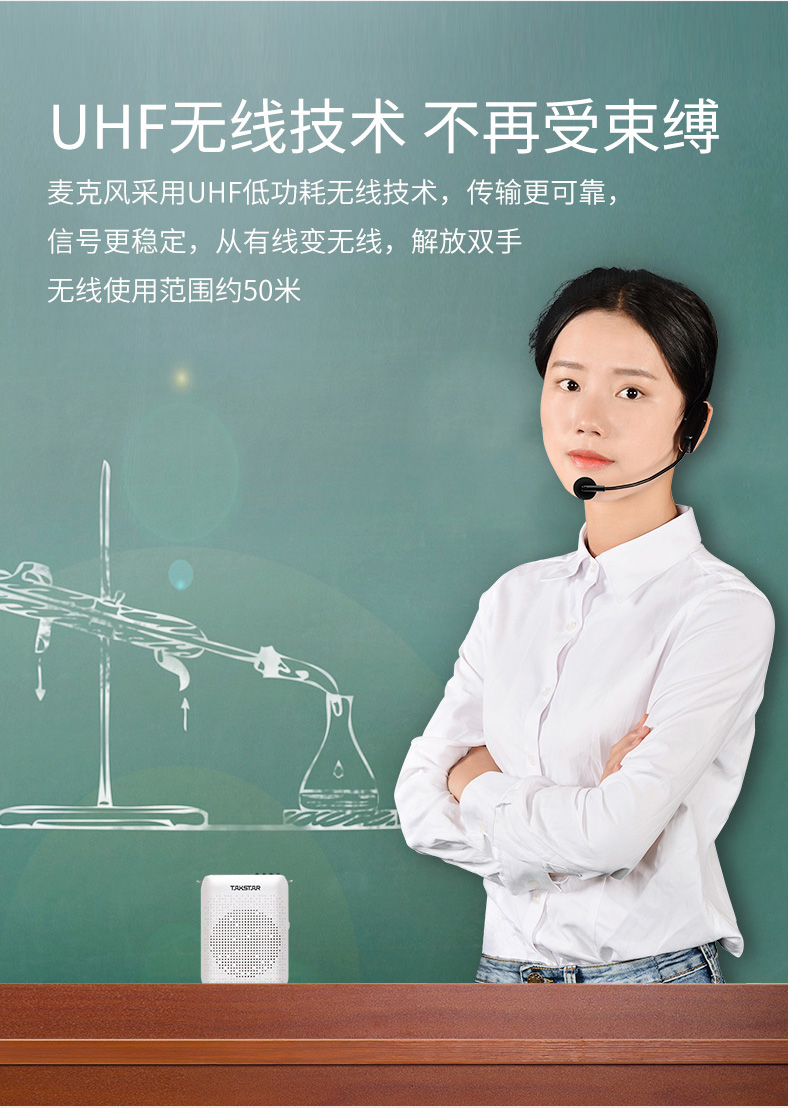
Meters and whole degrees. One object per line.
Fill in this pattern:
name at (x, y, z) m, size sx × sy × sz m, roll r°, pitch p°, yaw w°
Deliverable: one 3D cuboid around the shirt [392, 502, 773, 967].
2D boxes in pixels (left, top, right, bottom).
shirt at (0.372, 0.363, 2.318) m, size 0.616 × 0.842 × 0.765 m, roll 21°, pitch -20°, yaw -37°
